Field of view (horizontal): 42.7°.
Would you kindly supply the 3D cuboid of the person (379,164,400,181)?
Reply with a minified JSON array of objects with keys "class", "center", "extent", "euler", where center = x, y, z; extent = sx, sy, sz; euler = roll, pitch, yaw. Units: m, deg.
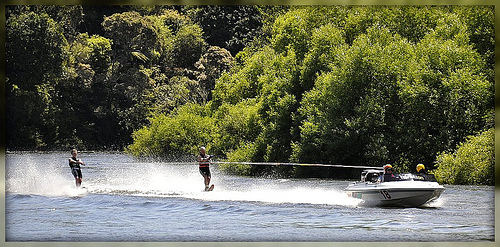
[{"class":"person","center":[10.848,3.871,50.522],"extent":[1.192,1.295,0.652],"euler":[-2,-5,9]}]

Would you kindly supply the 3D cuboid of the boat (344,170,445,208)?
[{"class":"boat","center":[11.266,5.284,50.470],"extent":[6.004,1.864,3.366],"euler":[2,-2,18]}]
